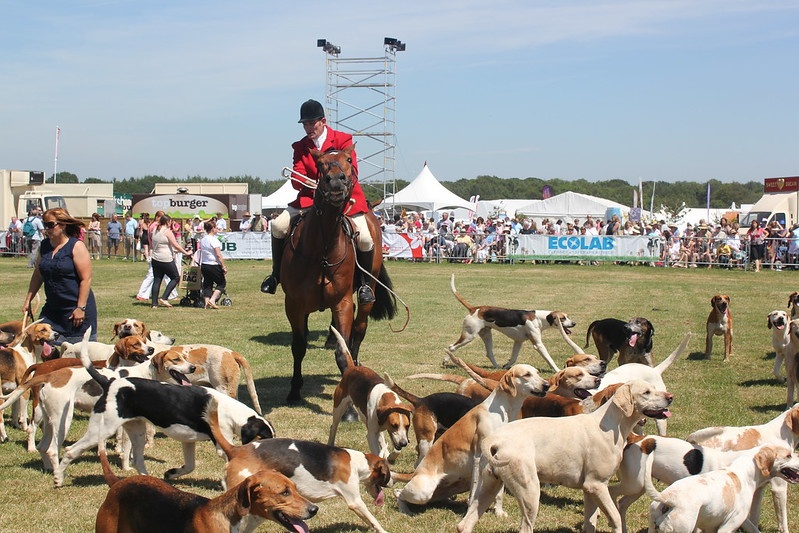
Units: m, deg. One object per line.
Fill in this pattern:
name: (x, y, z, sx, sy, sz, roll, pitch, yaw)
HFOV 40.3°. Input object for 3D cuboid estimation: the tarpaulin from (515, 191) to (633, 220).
tarpaulin: (8.953, -3.128, 56.958, 3.565, 1.505, 3.618, 1, -3, 13)

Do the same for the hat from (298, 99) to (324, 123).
hat: (-1.440, -2.547, 17.917, 0.379, 0.350, 0.664, 1, 2, 0)

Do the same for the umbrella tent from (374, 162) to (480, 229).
umbrella tent: (1.345, -3.878, 55.631, 4.690, 1.657, 4.621, 3, 9, 24)

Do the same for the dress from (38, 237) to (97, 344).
dress: (-5.134, 0.371, 16.620, 0.854, 2.161, 0.639, 4, 9, 3)

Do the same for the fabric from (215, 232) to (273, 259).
fabric: (-5.097, -0.715, 35.236, 1.277, 0.716, 0.054, 0, 13, -12)

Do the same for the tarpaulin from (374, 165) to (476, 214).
tarpaulin: (1.417, -3.947, 55.955, 5.738, 2.676, 5.691, -1, 1, 16)

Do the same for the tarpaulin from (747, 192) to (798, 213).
tarpaulin: (17.019, -2.769, 48.762, 1.922, 0.885, 0.971, -10, 13, -43)

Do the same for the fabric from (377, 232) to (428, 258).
fabric: (0.204, -0.735, 35.294, 1.411, 0.852, 0.161, 4, 30, 13)
